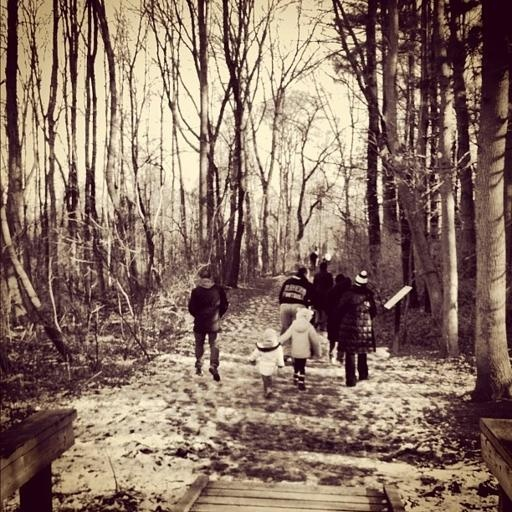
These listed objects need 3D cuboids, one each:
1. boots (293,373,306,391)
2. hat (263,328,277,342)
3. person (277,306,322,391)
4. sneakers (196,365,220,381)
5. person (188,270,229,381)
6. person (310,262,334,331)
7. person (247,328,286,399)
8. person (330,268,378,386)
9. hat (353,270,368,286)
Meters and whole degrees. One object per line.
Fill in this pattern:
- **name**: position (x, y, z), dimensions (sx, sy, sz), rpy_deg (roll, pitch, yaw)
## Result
- **boots**: position (0.744, 2.166, 10.679), dimensions (0.114, 0.357, 0.309), rpy_deg (1, 5, 12)
- **hat**: position (0.234, 1.310, 10.210), dimensions (0.139, 0.253, 0.207), rpy_deg (5, -7, -6)
- **person**: position (0.752, 1.606, 10.649), dimensions (0.670, 1.344, 0.481), rpy_deg (2, 8, 5)
- **sneakers**: position (-0.772, 2.041, 10.997), dimensions (0.278, 0.303, 0.120), rpy_deg (1, 15, 15)
- **person**: position (-0.874, 1.217, 11.122), dimensions (0.620, 1.869, 0.592), rpy_deg (3, 8, 13)
- **person**: position (1.493, 0.838, 14.388), dimensions (0.445, 1.696, 0.538), rpy_deg (0, 25, -2)
- **person**: position (0.166, 1.771, 10.285), dimensions (0.558, 1.153, 0.320), rpy_deg (1, 8, -4)
- **person**: position (1.742, 1.205, 10.902), dimensions (0.574, 2.041, 0.647), rpy_deg (-9, 18, -25)
- **hat**: position (1.832, 0.392, 10.794), dimensions (0.199, 0.242, 0.225), rpy_deg (23, 8, -9)
